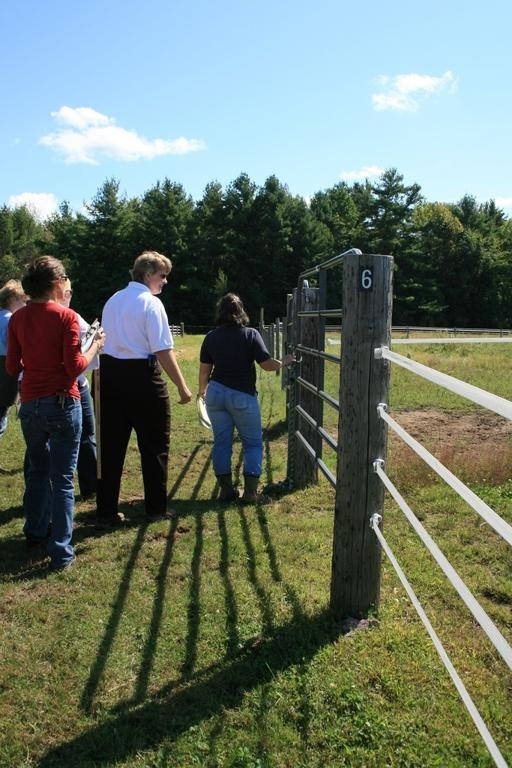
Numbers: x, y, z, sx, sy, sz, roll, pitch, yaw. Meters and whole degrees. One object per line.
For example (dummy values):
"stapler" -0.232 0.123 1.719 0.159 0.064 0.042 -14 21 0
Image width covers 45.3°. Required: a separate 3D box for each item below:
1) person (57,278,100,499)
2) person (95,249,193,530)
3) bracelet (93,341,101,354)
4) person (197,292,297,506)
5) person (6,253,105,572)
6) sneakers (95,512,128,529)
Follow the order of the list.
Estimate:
"person" -1.432 0.062 5.059 0.461 1.765 0.457 0 3 -4
"person" -0.858 0.039 4.419 0.740 1.956 0.447 -6 8 -16
"bracelet" -1.016 -0.234 3.942 0.027 0.073 0.060 7 -1 -26
"person" -0.141 0.118 5.177 0.632 1.740 0.608 -5 7 -9
"person" -1.264 0.169 3.825 0.456 1.891 0.657 -9 9 -38
"sneakers" -1.060 0.999 4.521 0.090 0.116 0.251 5 6 31
